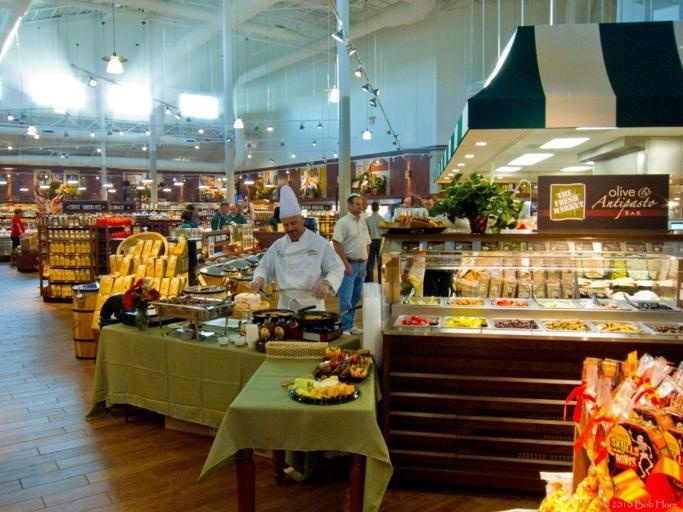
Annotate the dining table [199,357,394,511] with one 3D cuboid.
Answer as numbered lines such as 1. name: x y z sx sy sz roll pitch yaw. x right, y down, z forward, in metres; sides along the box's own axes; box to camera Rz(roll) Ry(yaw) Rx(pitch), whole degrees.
1. dining table: -0.220 0.957 3.225 0.919 0.475 1.002 1 2 2

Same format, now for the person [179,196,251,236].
1. person: -2.142 -0.668 9.413 0.923 0.462 0.903 -2 4 -18

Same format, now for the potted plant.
1. potted plant: 1.146 -0.456 4.541 0.784 0.489 0.363 -1 11 8

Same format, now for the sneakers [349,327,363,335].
1. sneakers: 0.172 0.956 6.831 0.089 0.103 0.268 5 4 43

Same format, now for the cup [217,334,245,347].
1. cup: -0.838 0.642 4.084 0.245 0.060 0.138 1 12 19

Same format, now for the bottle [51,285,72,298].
1. bottle: -5.205 0.656 9.831 0.356 0.190 0.233 4 -13 -2

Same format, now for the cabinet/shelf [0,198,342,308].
1. cabinet/shelf: -3.000 -0.064 8.366 4.654 1.620 2.568 2 0 1
